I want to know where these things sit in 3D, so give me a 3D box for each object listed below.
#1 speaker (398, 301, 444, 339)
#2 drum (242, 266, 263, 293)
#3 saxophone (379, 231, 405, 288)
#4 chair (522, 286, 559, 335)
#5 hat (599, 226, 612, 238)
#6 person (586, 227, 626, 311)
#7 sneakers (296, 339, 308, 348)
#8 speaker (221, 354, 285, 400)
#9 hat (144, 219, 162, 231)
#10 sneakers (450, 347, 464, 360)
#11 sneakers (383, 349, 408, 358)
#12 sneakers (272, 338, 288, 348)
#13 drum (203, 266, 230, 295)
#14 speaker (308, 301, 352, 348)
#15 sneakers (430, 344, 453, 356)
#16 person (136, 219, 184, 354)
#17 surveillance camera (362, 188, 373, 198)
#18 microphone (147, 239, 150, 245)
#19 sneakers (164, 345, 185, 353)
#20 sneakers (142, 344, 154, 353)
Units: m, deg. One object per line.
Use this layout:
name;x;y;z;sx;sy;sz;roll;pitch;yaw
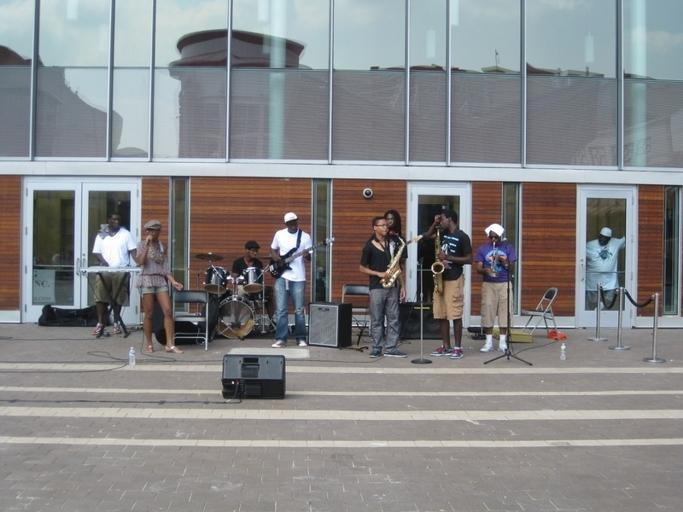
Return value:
speaker;1.414;1.151;18.765;0.685;0.500;0.686;0;0;3
drum;-1.538;0.431;18.264;0.408;0.390;0.419;-5;-23;1
saxophone;0.858;0.107;17.077;0.244;0.762;0.568;7;15;23
chair;3.640;1.023;19.279;0.613;0.796;0.500;-1;5;-4
hat;5.138;-0.464;20.454;0.172;0.215;0.217;29;7;2
person;5.117;0.265;20.382;0.749;1.563;0.524;1;14;3
sneakers;-0.685;1.523;18.039;0.115;0.104;0.248;0;-5;-14
speaker;-1.220;1.682;14.339;0.693;0.436;0.686;1;-2;1
hat;-3.042;-0.488;16.882;0.251;0.092;0.212;-7;4;-31
sneakers;1.865;1.617;17.134;0.110;0.126;0.282;-2;-11;17
sneakers;0.871;1.619;17.164;0.348;0.138;0.138;0;-4;9
sneakers;-1.068;1.501;17.859;0.238;0.153;0.354;0;14;-3
drum;-2.116;0.422;17.799;0.462;0.433;0.457;7;-5;-45
speaker;-0.218;1.189;17.863;0.706;0.797;0.348;1;14;1
sneakers;1.646;1.596;17.347;0.341;0.155;0.149;0;-2;-6
person;-2.979;0.540;16.969;0.634;2.151;0.439;-2;14;-12
surveillance camera;0.499;-1.195;20.015;0.218;0.215;0.097;0;14;-2
microphone;-3.104;-0.220;16.863;0.068;0.120;0.091;0;0;-9
sneakers;-2.751;1.544;17.176;0.282;0.102;0.111;2;-1;2
sneakers;-3.190;1.543;17.242;0.136;0.095;0.352;1;-4;-19
